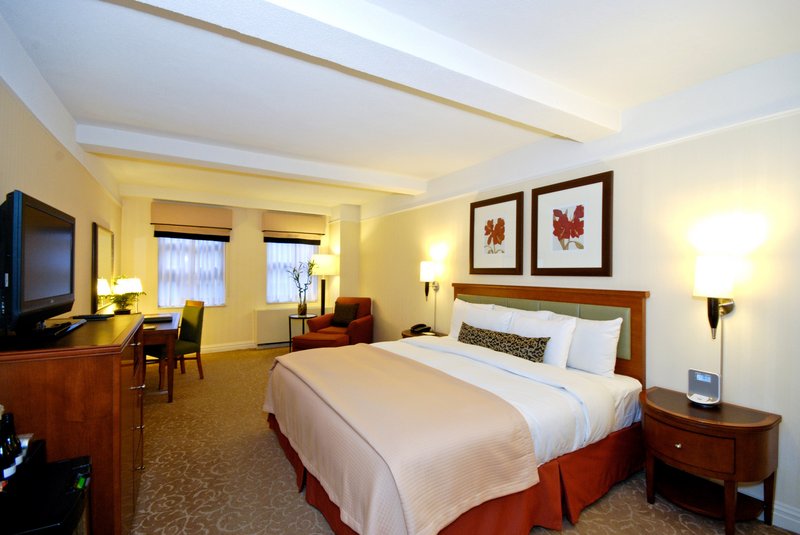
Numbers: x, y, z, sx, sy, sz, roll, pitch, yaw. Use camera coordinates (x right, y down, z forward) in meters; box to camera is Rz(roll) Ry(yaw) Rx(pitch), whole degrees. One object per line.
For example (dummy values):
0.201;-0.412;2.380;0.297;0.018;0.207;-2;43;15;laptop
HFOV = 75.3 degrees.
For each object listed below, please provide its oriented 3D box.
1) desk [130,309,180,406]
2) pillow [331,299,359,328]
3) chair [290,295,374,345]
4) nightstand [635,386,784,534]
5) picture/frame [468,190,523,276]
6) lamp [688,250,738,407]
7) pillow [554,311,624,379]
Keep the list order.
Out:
-2.720;1.043;5.851;0.369;0.537;1.048;-1;1;-23;desk
-0.858;0.762;8.421;0.389;0.405;0.143;0;-20;19;pillow
-1.038;0.866;8.146;0.750;0.929;1.044;-4;-9;34;chair
2.537;1.401;4.441;0.847;1.203;1.198;1;-3;-37;nightstand
1.156;-0.398;6.121;0.073;1.111;0.963;-1;2;-32;picture/frame
2.609;0.532;4.392;0.308;1.244;0.464;7;15;34;lamp
1.798;0.774;4.937;0.258;0.494;0.516;44;-19;-26;pillow
